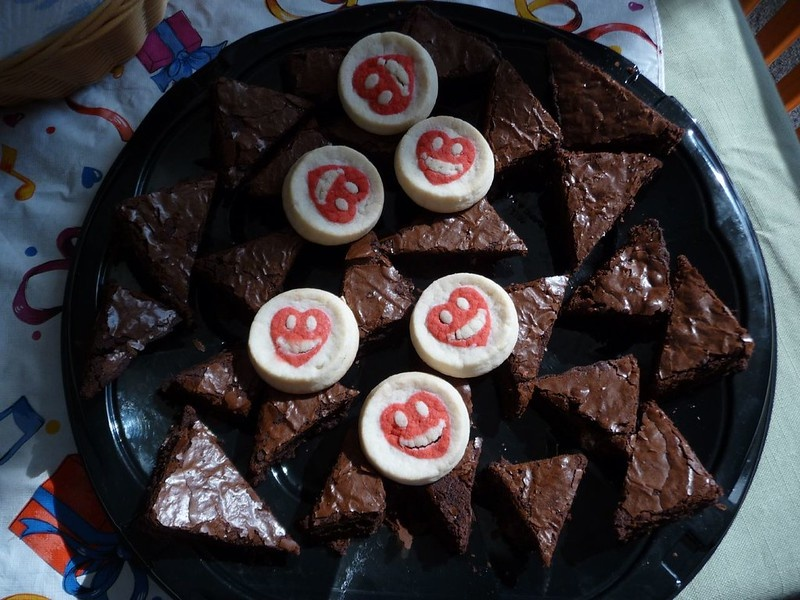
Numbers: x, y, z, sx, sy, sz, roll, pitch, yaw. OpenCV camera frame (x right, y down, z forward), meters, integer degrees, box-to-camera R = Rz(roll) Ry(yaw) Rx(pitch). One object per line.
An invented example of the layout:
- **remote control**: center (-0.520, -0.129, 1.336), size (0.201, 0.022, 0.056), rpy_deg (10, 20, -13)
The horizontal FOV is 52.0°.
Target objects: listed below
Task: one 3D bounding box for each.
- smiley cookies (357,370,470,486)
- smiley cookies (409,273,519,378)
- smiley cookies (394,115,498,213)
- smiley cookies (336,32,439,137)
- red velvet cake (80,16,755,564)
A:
- **smiley cookies**: center (0.062, 0.595, 3.862), size (0.513, 0.064, 0.517), rpy_deg (12, 79, 1)
- **smiley cookies**: center (0.305, 0.120, 3.887), size (0.431, 0.130, 0.525), rpy_deg (-15, 77, -2)
- **smiley cookies**: center (0.225, -0.696, 4.077), size (0.477, 0.455, 0.344), rpy_deg (-11, 34, -5)
- **smiley cookies**: center (-0.054, -1.094, 4.110), size (0.424, 0.125, 0.535), rpy_deg (1, 90, -7)
- **red velvet cake**: center (-0.021, -0.087, 4.161), size (2.440, 0.315, 3.072), rpy_deg (0, 79, -3)
